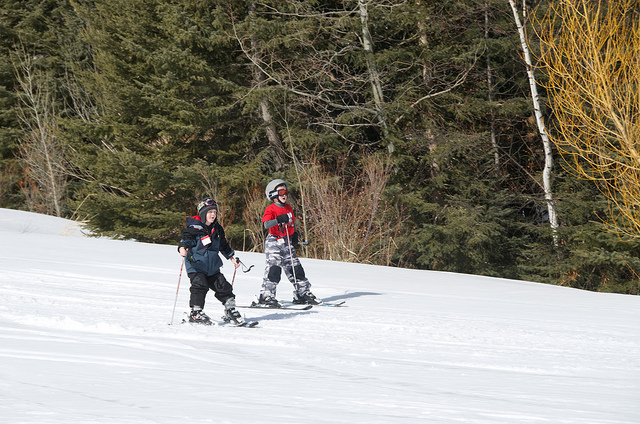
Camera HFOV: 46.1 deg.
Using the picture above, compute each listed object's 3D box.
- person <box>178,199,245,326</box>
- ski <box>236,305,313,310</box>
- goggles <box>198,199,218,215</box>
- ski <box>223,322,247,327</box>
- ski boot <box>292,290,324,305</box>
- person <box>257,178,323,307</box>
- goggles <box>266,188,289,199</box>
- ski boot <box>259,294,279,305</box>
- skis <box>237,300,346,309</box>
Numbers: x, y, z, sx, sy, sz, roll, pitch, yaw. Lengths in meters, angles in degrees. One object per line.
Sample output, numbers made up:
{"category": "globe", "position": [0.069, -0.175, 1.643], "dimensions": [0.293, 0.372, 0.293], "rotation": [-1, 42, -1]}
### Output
{"category": "person", "position": [-1.991, 0.886, 13.537], "dimensions": [1.081, 2.229, 0.603], "rotation": [2, 10, -10]}
{"category": "ski", "position": [-0.666, 1.916, 14.992], "dimensions": [1.019, 0.075, 0.133], "rotation": [2, 9, -11]}
{"category": "goggles", "position": [-2.021, -0.100, 13.537], "dimensions": [0.254, 0.082, 0.190], "rotation": [-31, -18, 26]}
{"category": "ski", "position": [-1.517, 2.028, 13.555], "dimensions": [0.391, 0.060, 0.106], "rotation": [2, 9, -7]}
{"category": "ski boot", "position": [-0.276, 1.796, 15.554], "dimensions": [0.712, 0.290, 0.244], "rotation": [1, -4, 3]}
{"category": "person", "position": [-0.665, 0.626, 15.159], "dimensions": [1.033, 2.522, 0.879], "rotation": [3, 10, -3]}
{"category": "goggles", "position": [-0.831, -0.381, 15.185], "dimensions": [0.254, 0.087, 0.183], "rotation": [-17, -8, 19]}
{"category": "ski boot", "position": [-1.035, 1.748, 14.984], "dimensions": [0.353, 0.174, 0.147], "rotation": [3, 10, -4]}
{"category": "skis", "position": [-0.639, 1.879, 15.178], "dimensions": [2.084, 0.194, 0.163], "rotation": [0, 12, -15]}
